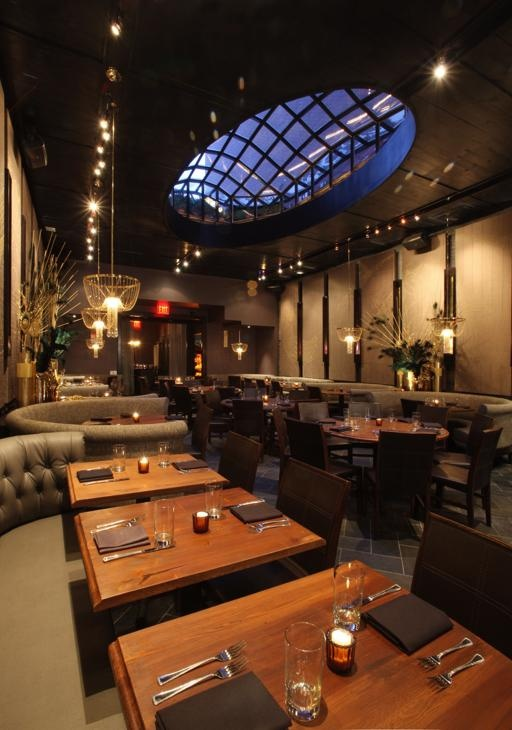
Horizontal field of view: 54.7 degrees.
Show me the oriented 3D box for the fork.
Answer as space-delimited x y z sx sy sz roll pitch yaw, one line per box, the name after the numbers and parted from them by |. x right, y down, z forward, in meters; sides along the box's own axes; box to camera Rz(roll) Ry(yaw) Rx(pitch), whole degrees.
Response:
0.464 0.686 1.151 0.188 0.016 0.084 -3 5 -30 | fork

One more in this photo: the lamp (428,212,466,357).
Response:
2.839 -1.056 7.368 0.489 2.029 1.523 1 4 20 | lamp

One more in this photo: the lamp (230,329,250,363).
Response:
-0.433 -0.547 13.925 0.499 0.913 0.962 0 4 -1 | lamp

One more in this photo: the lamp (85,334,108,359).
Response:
-3.337 -0.372 10.305 0.420 0.678 0.434 3 -6 -27 | lamp
